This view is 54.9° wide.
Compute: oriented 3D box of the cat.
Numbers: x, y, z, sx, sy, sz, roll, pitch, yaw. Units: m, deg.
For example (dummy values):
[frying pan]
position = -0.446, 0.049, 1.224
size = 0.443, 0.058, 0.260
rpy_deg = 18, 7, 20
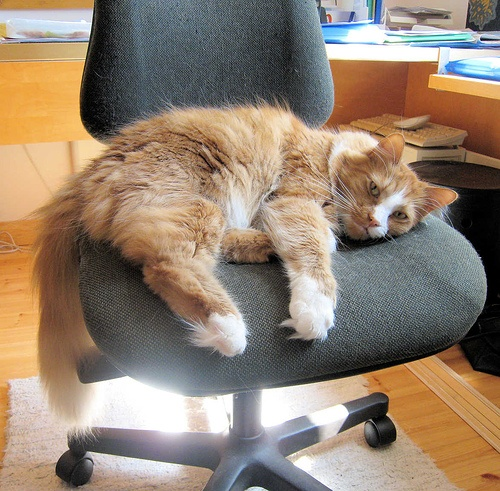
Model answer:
[cat]
position = -0.056, -0.080, 0.886
size = 0.926, 0.202, 0.504
rpy_deg = -21, 51, -41

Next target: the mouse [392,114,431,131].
[mouse]
position = 0.592, -0.450, 1.782
size = 0.120, 0.037, 0.083
rpy_deg = 20, 36, 36
